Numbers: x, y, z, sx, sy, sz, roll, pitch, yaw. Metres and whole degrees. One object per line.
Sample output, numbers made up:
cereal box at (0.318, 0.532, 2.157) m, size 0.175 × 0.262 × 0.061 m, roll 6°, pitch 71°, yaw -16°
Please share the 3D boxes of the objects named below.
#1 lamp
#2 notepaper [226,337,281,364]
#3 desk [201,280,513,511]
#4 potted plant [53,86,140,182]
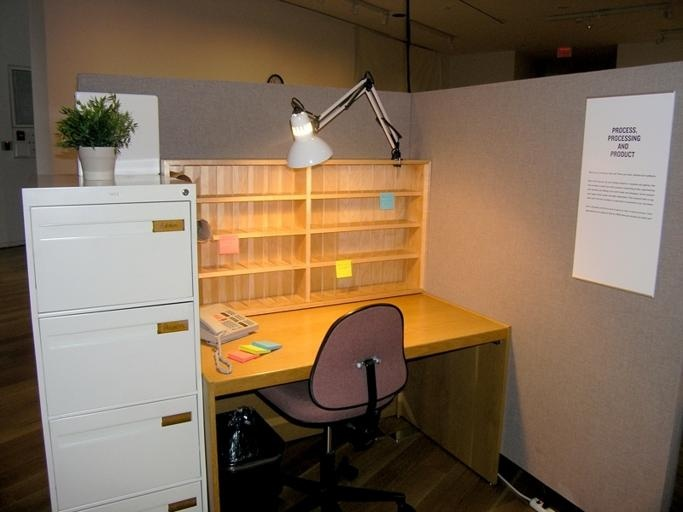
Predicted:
lamp at (0.009, -0.667, 2.690) m, size 0.620 × 0.546 × 0.254 m, roll -11°, pitch 16°, yaw -1°
notepaper at (-0.427, 0.460, 2.486) m, size 0.101 × 0.029 × 0.159 m, roll 8°, pitch 18°, yaw 41°
desk at (0.153, 0.383, 2.985) m, size 1.728 × 1.094 × 0.977 m, roll -5°, pitch 10°, yaw -27°
potted plant at (-1.075, -0.500, 2.190) m, size 0.274 × 0.385 × 0.340 m, roll -5°, pitch 13°, yaw 8°
